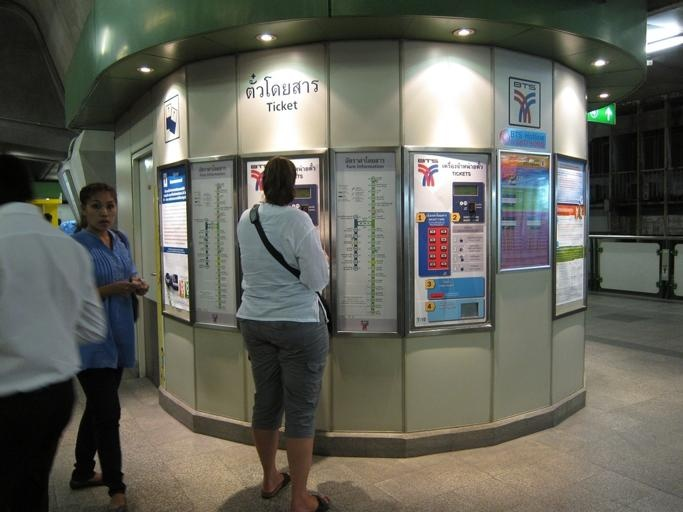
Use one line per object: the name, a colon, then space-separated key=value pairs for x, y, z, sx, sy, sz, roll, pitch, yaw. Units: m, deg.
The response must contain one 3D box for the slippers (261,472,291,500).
slippers: x=-0.475 y=1.713 z=3.791 sx=0.118 sy=0.091 sz=0.339 roll=6 pitch=13 yaw=12
